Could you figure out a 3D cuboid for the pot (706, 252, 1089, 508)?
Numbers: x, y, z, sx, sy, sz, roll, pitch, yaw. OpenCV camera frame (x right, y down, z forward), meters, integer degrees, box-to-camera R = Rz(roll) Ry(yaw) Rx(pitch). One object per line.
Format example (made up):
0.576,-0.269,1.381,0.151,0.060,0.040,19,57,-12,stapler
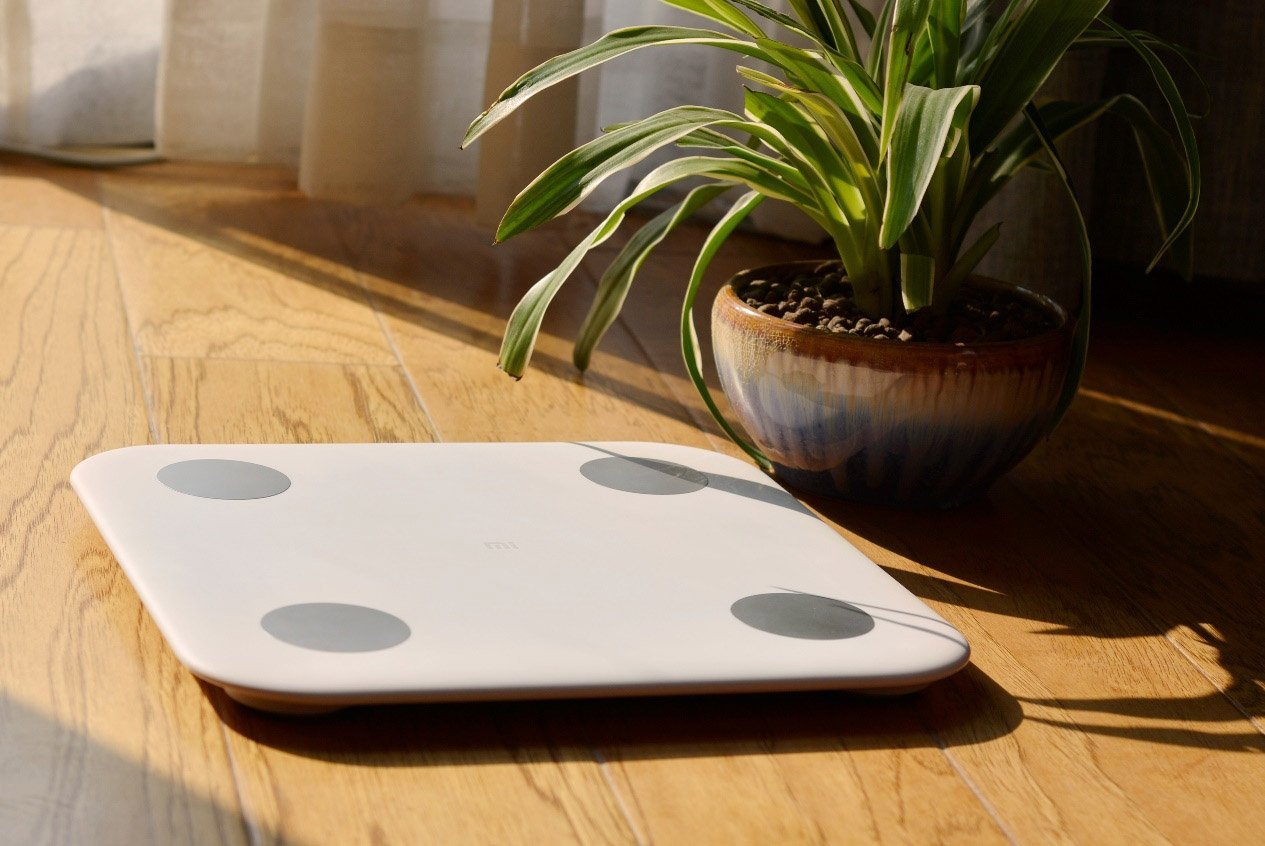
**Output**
0.241,-0.044,0.887,0.341,0.186,0.339,0,24,0,pot

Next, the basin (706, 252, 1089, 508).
0.214,-0.052,0.766,0.217,0.118,0.210,2,22,-1,basin
